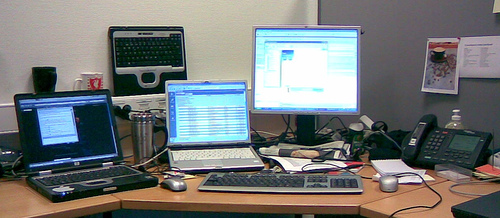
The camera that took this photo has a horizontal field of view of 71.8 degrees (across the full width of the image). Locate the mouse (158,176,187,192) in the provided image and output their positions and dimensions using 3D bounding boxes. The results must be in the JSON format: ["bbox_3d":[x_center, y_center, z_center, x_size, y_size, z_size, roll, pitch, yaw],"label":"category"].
[{"bbox_3d":[-0.502,0.501,2.330,0.155,0.041,0.090,5,4,41],"label":"mouse"}]

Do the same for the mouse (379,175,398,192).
[{"bbox_3d":[0.916,0.492,2.294,0.132,0.066,0.109,-1,0,5],"label":"mouse"}]

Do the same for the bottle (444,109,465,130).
[{"bbox_3d":[1.536,0.078,2.582,0.131,0.146,0.183,4,15,29],"label":"bottle"}]

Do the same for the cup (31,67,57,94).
[{"bbox_3d":[-1.538,-0.226,2.591,0.167,0.180,0.092,-7,15,-12],"label":"cup"}]

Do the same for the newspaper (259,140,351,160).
[{"bbox_3d":[0.415,0.303,2.704,0.792,0.112,0.416,0,2,14],"label":"newspaper"}]

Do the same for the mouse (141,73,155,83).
[{"bbox_3d":[-0.838,-0.259,2.822,0.124,0.077,0.025,-1,9,-19],"label":"mouse"}]

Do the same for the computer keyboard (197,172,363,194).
[{"bbox_3d":[0.207,0.499,2.392,1.102,0.070,0.322,-1,9,6],"label":"computer keyboard"}]

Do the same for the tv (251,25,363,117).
[{"bbox_3d":[0.454,-0.320,2.747,1.034,0.586,0.089,0,3,1],"label":"tv"}]

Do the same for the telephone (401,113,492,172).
[{"bbox_3d":[1.412,0.260,2.493,0.586,0.219,0.417,7,28,36],"label":"telephone"}]

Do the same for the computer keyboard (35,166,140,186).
[{"bbox_3d":[-1.093,0.471,2.402,0.635,0.019,0.296,-4,9,-41],"label":"computer keyboard"}]

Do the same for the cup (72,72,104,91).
[{"bbox_3d":[-1.247,-0.221,2.648,0.170,0.207,0.122,-1,7,-2],"label":"cup"}]
